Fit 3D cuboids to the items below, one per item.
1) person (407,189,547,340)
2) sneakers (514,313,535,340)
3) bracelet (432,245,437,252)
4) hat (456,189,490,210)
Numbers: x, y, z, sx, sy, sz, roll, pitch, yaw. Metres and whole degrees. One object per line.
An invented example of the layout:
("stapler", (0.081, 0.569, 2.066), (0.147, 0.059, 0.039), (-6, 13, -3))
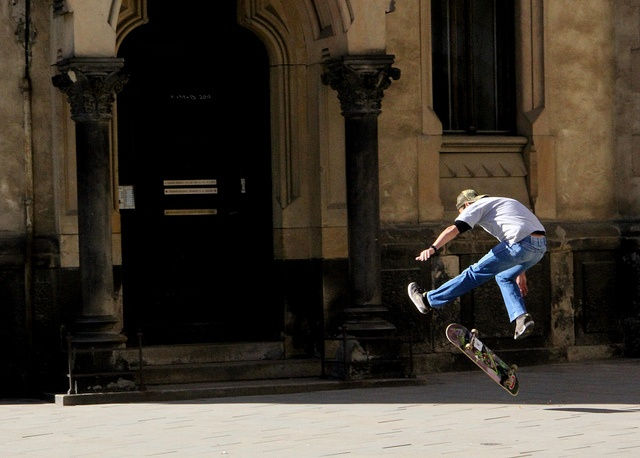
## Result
("person", (1.980, 0.508, 17.921), (1.525, 1.213, 1.117), (29, -43, -29))
("sneakers", (2.459, 1.176, 16.376), (0.212, 0.274, 0.406), (-3, -1, 9))
("bracelet", (1.349, 0.244, 15.964), (0.081, 0.029, 0.081), (42, -1, 18))
("hat", (1.835, -0.298, 16.634), (0.376, 0.206, 0.296), (-22, -4, 23))
